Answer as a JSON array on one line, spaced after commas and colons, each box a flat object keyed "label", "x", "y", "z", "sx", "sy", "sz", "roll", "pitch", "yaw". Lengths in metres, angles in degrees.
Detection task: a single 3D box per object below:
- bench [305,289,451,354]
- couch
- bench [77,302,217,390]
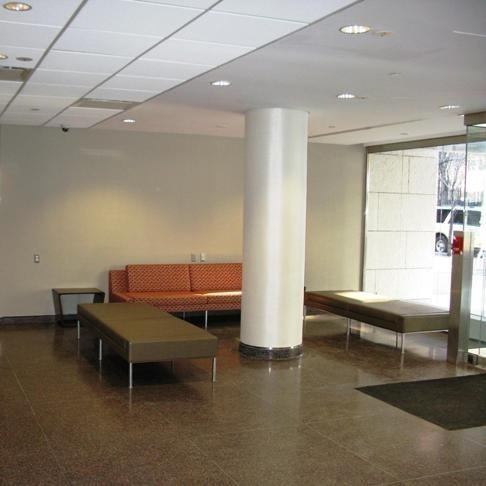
[{"label": "bench", "x": 2.062, "y": 1.142, "z": 6.916, "sx": 0.834, "sy": 0.754, "sz": 2.131, "roll": 2, "pitch": 0, "yaw": -28}, {"label": "couch", "x": -0.831, "y": 0.812, "z": 7.905, "sx": 2.631, "sy": 0.846, "sz": 0.954, "roll": 1, "pitch": 6, "yaw": -30}, {"label": "bench", "x": -1.113, "y": 1.120, "z": 5.223, "sx": 0.865, "sy": 0.616, "sz": 1.901, "roll": 2, "pitch": 0, "yaw": -30}]
